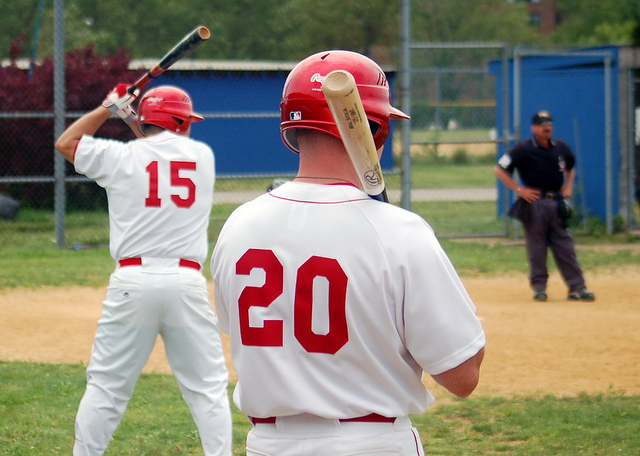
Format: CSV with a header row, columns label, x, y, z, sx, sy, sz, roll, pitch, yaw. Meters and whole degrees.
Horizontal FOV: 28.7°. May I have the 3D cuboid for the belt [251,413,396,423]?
label,x,y,z,sx,sy,sz,roll,pitch,yaw
belt,0.088,2.045,13.528,1.431,0.111,0.068,0,7,3

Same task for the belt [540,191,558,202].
label,x,y,z,sx,sy,sz,roll,pitch,yaw
belt,3.517,-0.472,19.121,0.182,0.064,0.165,7,-13,-4
